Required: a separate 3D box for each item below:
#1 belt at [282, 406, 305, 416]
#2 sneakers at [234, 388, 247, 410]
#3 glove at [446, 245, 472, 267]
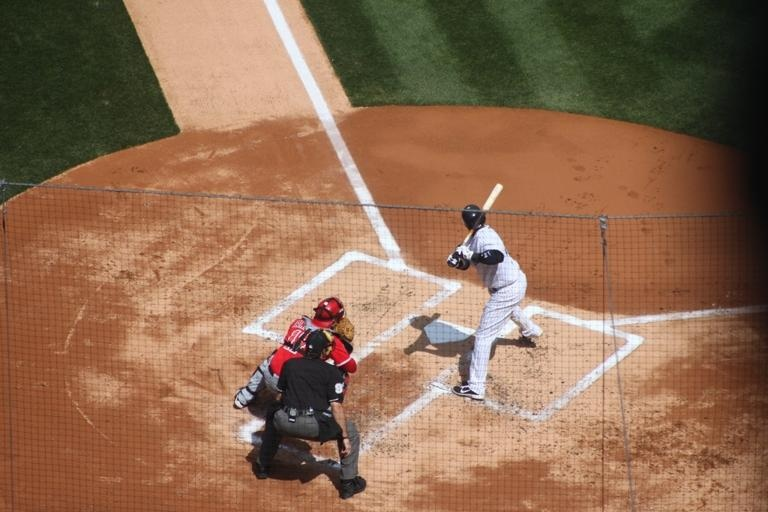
[{"bbox_3d":[-1.590,2.686,22.194,0.366,0.033,0.145,5,78,4],"label":"belt"},{"bbox_3d":[-2.670,2.598,23.444,0.266,0.241,0.355,7,92,3],"label":"sneakers"},{"bbox_3d":[1.406,-0.017,23.593,0.473,0.176,0.344,-36,105,-8],"label":"glove"}]
